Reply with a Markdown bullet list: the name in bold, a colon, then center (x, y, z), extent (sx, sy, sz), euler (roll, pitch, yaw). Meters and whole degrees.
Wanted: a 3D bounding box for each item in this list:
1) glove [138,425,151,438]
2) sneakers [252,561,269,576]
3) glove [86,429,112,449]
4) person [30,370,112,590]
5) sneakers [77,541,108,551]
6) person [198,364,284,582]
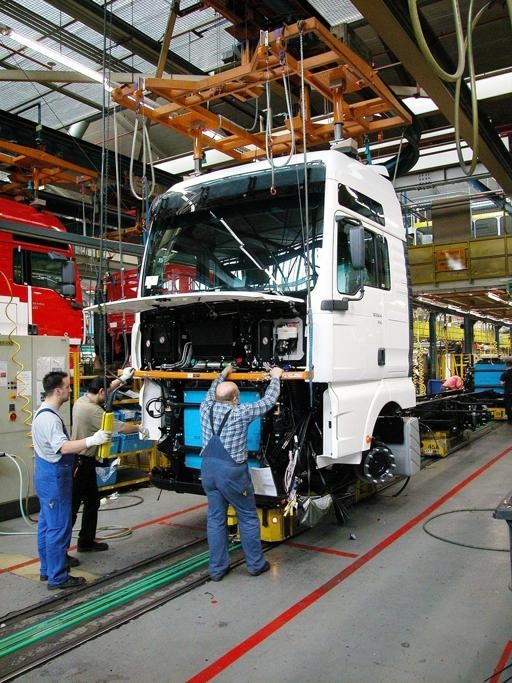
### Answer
- **glove**: center (-1.127, 0.912, 5.484), extent (0.130, 0.121, 0.110), euler (-2, 1, 2)
- **sneakers**: center (0.033, 1.875, 4.530), extent (0.069, 0.105, 0.158), euler (4, 10, 30)
- **glove**: center (-1.223, 0.761, 4.222), extent (0.121, 0.130, 0.229), euler (-2, -3, 17)
- **person**: center (-1.519, 1.108, 4.352), extent (0.457, 1.734, 0.670), euler (1, -4, -29)
- **sneakers**: center (-1.551, 1.974, 5.206), extent (0.280, 0.108, 0.109), euler (-2, -3, -7)
- **person**: center (-0.126, 1.067, 4.402), extent (0.698, 1.736, 0.451), euler (-2, -3, 9)
